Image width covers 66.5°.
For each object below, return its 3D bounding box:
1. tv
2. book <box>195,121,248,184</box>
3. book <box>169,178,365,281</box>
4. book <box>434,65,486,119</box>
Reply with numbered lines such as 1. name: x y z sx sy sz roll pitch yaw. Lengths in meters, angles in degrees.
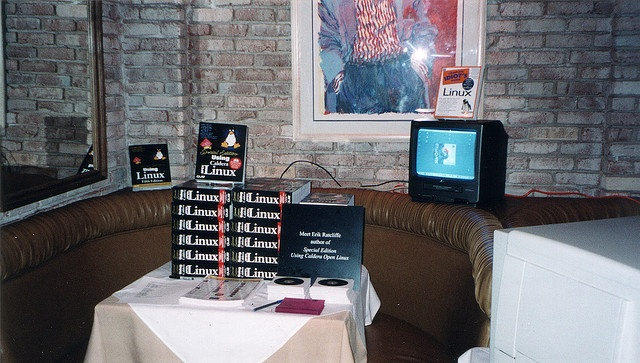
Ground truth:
1. tv: 1.157 -0.156 3.804 0.837 0.597 0.828 4 9 22
2. book: -0.715 -0.208 3.534 0.364 0.419 0.201 1 10 4
3. book: -0.292 0.343 3.585 1.373 0.603 0.584 1 -5 13
4. book: 1.009 -0.644 3.568 0.307 0.379 0.101 5 12 28
